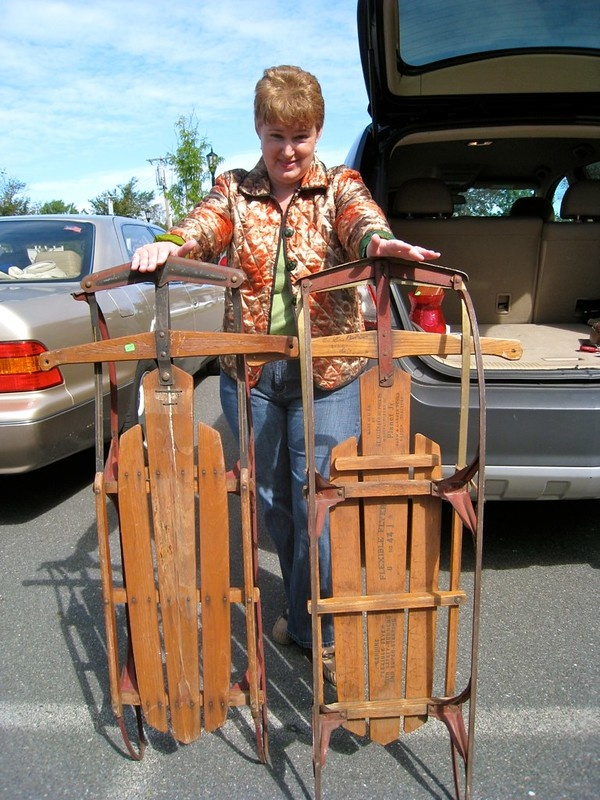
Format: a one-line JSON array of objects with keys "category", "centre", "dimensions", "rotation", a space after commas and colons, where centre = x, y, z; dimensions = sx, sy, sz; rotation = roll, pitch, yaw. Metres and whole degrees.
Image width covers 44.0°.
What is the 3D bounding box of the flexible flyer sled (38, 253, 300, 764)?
[{"category": "flexible flyer sled", "centre": [-0.339, 0.371, 2.080], "dimensions": [0.599, 1.499, 0.554], "rotation": [-7, 19, -19]}]
